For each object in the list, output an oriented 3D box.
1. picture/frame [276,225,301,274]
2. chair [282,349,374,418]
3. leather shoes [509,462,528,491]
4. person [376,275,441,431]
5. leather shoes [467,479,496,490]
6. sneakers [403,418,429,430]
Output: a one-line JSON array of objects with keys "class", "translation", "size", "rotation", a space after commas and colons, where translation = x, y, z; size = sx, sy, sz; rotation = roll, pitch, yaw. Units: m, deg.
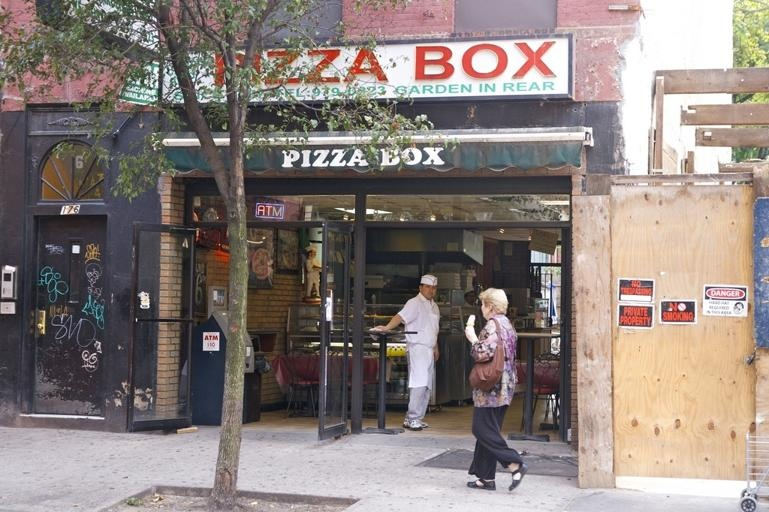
[{"class": "picture/frame", "translation": [-1.866, -0.155, 18.684], "size": [0.090, 0.924, 0.824], "rotation": [-2, -3, 24]}, {"class": "chair", "translation": [-1.251, 2.094, 17.263], "size": [1.734, 1.145, 1.085], "rotation": [1, 3, 17]}, {"class": "leather shoes", "translation": [1.642, 2.723, 12.079], "size": [0.268, 0.322, 0.191], "rotation": [3, -5, -45]}, {"class": "person", "translation": [0.475, 1.554, 16.075], "size": [0.705, 2.512, 1.030], "rotation": [-2, -4, 13]}, {"class": "leather shoes", "translation": [1.189, 2.828, 12.185], "size": [0.300, 0.121, 0.142], "rotation": [4, -2, 14]}, {"class": "sneakers", "translation": [0.504, 2.694, 15.704], "size": [0.398, 0.185, 0.174], "rotation": [-2, -4, 17]}]
